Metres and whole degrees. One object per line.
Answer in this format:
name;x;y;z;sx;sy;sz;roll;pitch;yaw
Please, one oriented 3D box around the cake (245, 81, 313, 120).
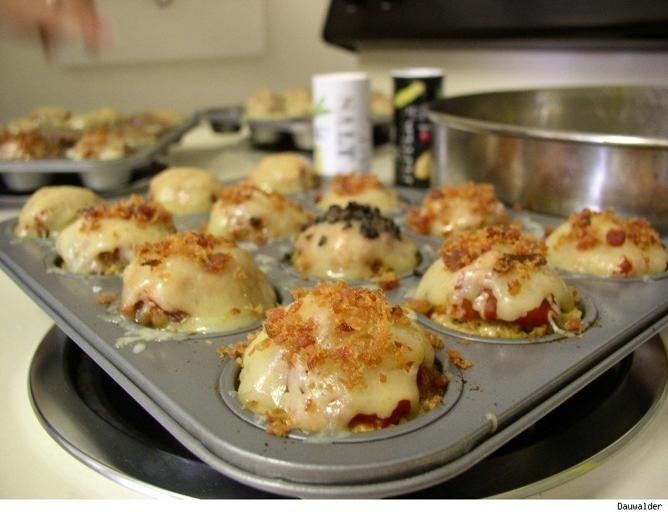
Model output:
cake;-0.230;-0.636;2.493;0.239;0.069;0.182;-4;27;-3
